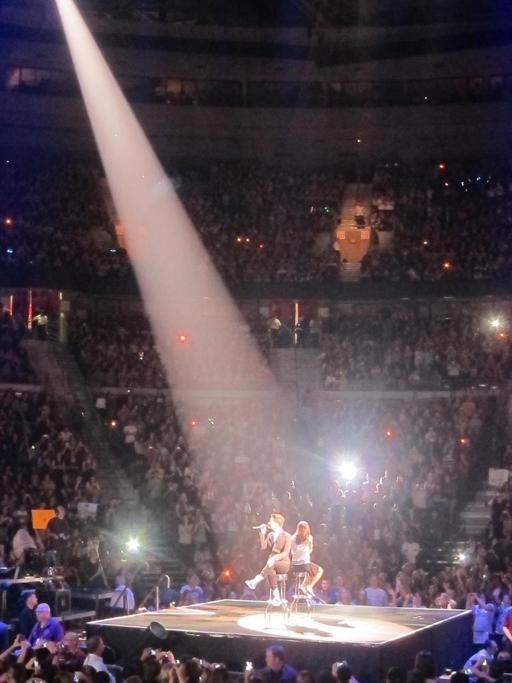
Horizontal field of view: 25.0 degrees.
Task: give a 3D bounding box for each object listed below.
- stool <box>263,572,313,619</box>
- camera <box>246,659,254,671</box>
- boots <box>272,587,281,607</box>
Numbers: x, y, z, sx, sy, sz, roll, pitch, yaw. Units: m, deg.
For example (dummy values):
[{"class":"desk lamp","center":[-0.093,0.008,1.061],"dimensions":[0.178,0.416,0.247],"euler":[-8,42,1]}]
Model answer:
[{"class":"stool","center":[0.610,4.758,21.797],"dimensions":[0.817,1.126,0.787],"euler":[21,-28,-40]},{"class":"camera","center":[-0.107,5.307,19.082],"dimensions":[0.103,0.189,0.119],"euler":[-10,16,-35]},{"class":"boots","center":[0.347,4.511,20.616],"dimensions":[0.150,0.285,0.311],"euler":[2,-3,0]}]
